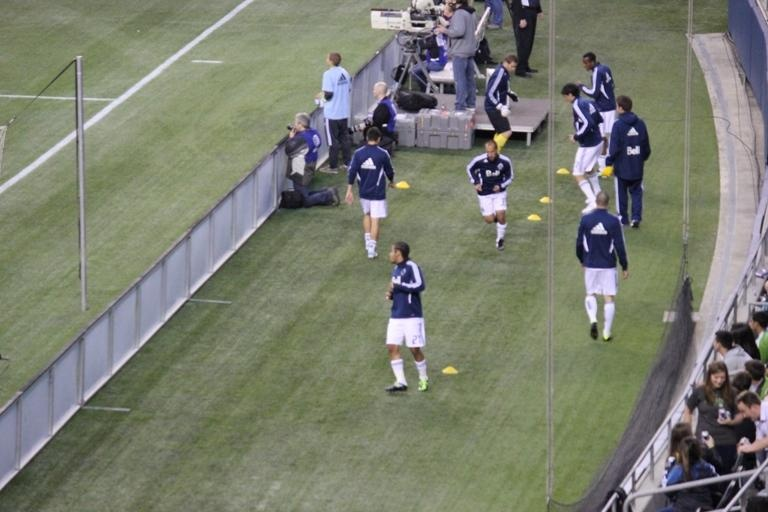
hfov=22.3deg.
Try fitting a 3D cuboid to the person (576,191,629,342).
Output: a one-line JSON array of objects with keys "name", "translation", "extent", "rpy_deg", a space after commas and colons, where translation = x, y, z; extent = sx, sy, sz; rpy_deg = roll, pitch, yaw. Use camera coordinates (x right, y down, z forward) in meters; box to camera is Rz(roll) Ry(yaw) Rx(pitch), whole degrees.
[{"name": "person", "translation": [3.953, 0.221, 35.378], "extent": [0.990, 2.657, 1.098], "rpy_deg": [1, 1, 5]}]

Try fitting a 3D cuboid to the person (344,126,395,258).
[{"name": "person", "translation": [-0.266, -1.185, 37.437], "extent": [0.747, 2.553, 0.670], "rpy_deg": [21, 34, 34]}]

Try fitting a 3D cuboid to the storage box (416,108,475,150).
[{"name": "storage box", "translation": [1.297, -2.646, 41.627], "extent": [1.315, 0.643, 0.885], "rpy_deg": [4, 19, 10]}]

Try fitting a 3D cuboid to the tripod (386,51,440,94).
[{"name": "tripod", "translation": [0.754, -4.017, 43.248], "extent": [0.983, 1.019, 0.964], "rpy_deg": [4, 25, 7]}]

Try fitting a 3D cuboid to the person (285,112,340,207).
[{"name": "person", "translation": [-1.492, -1.793, 39.331], "extent": [1.388, 1.984, 0.803], "rpy_deg": [1, -11, 7]}]
